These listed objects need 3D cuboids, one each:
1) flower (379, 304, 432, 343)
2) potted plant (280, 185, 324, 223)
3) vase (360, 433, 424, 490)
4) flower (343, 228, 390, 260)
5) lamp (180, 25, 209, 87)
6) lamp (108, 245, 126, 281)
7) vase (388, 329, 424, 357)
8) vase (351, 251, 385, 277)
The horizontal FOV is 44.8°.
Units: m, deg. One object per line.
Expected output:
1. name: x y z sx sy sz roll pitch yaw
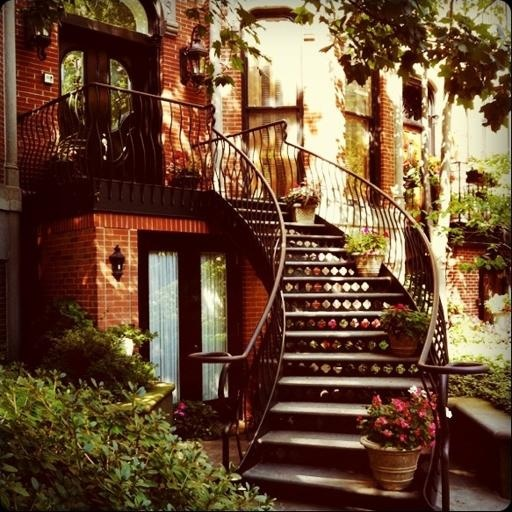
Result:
1. flower: 1.583 0.706 6.636 0.340 0.318 0.390 3 -8 2
2. potted plant: 0.667 -0.694 8.694 0.419 0.535 0.450 1 0 3
3. vase: 1.088 1.667 5.033 0.349 0.322 0.365 0 -11 -1
4. flower: 1.449 -0.164 8.028 0.403 0.335 0.451 -3 13 -18
5. lamp: -0.874 -2.952 9.277 0.422 0.791 0.662 2 0 -21
6. lamp: -1.575 0.081 7.037 0.167 0.344 0.213 2 0 -16
7. vase: 1.565 0.930 6.582 0.230 0.223 0.264 0 -6 -2
8. vase: 1.433 0.108 7.956 0.263 0.244 0.303 0 -8 -1
